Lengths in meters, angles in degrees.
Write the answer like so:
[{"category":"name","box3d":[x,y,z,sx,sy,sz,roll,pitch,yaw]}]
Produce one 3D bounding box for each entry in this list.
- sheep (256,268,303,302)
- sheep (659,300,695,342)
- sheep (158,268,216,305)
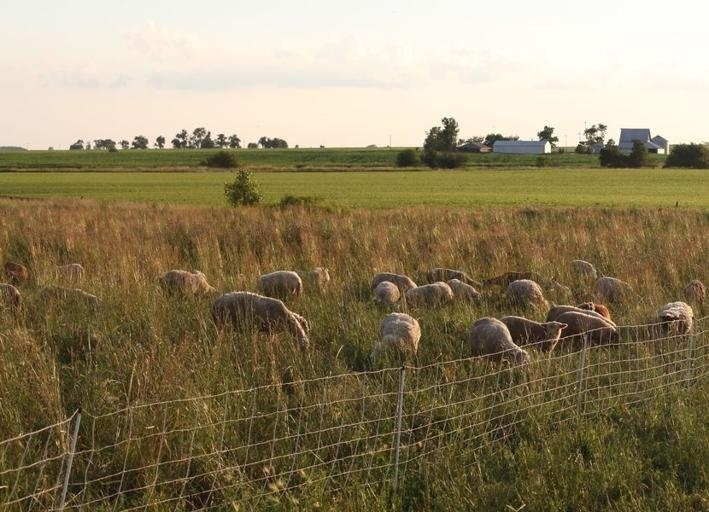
[{"category":"sheep","box3d":[-1.760,0.729,24.505,1.066,0.819,0.548,4,1,16]},{"category":"sheep","box3d":[7.023,1.474,21.816,0.515,0.663,1.752,0,-5,19]},{"category":"sheep","box3d":[-4.035,0.786,24.011,1.683,1.034,0.573,2,5,-27]}]
